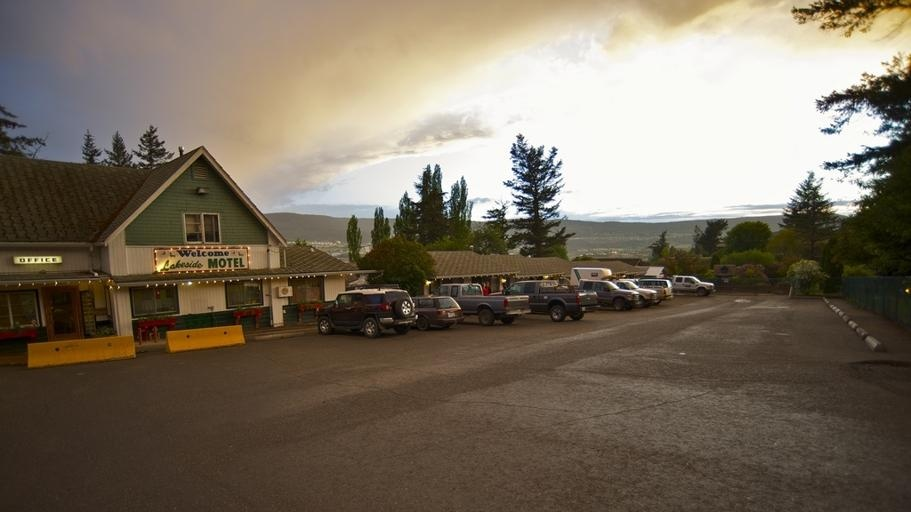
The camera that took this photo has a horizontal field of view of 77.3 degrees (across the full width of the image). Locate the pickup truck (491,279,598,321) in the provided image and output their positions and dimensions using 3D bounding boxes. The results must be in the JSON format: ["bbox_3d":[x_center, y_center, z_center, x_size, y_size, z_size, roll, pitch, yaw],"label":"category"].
[{"bbox_3d":[6.355,2.741,36.462,4.954,1.652,2.803,4,3,39],"label":"pickup truck"}]

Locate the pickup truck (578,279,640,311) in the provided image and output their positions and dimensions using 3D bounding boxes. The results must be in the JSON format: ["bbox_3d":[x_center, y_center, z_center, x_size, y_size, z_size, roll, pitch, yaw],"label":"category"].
[{"bbox_3d":[11.401,2.936,42.809,4.296,1.728,2.319,-2,0,37],"label":"pickup truck"}]

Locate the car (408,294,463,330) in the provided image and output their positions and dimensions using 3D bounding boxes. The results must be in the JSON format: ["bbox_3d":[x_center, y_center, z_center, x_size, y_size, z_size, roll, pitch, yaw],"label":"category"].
[{"bbox_3d":[-0.976,3.258,32.838,2.966,1.038,1.528,2,4,39],"label":"car"}]

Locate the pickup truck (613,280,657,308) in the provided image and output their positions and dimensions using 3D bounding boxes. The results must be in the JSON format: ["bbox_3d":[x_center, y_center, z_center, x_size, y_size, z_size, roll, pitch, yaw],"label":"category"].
[{"bbox_3d":[14.069,3.033,45.421,3.521,1.517,1.902,-3,-1,31],"label":"pickup truck"}]

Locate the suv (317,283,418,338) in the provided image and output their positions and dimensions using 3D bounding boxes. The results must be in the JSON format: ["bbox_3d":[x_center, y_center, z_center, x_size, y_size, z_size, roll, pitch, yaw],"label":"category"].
[{"bbox_3d":[-4.802,3.119,31.907,4.923,2.098,2.658,3,2,27],"label":"suv"}]

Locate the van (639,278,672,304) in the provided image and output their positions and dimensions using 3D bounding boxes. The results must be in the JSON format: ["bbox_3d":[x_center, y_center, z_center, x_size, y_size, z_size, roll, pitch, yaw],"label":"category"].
[{"bbox_3d":[18.077,3.194,50.482,3.373,1.670,1.929,1,3,19],"label":"van"}]

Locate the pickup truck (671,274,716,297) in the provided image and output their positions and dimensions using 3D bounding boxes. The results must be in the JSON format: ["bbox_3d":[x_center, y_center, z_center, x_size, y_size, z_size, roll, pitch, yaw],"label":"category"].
[{"bbox_3d":[26.728,3.333,62.608,5.351,2.193,2.500,-2,2,38],"label":"pickup truck"}]

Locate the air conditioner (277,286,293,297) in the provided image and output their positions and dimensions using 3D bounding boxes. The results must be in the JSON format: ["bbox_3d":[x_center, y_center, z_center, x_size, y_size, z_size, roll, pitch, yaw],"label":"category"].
[{"bbox_3d":[-10.580,2.246,35.511,0.607,0.775,1.084,-5,-3,29],"label":"air conditioner"}]
